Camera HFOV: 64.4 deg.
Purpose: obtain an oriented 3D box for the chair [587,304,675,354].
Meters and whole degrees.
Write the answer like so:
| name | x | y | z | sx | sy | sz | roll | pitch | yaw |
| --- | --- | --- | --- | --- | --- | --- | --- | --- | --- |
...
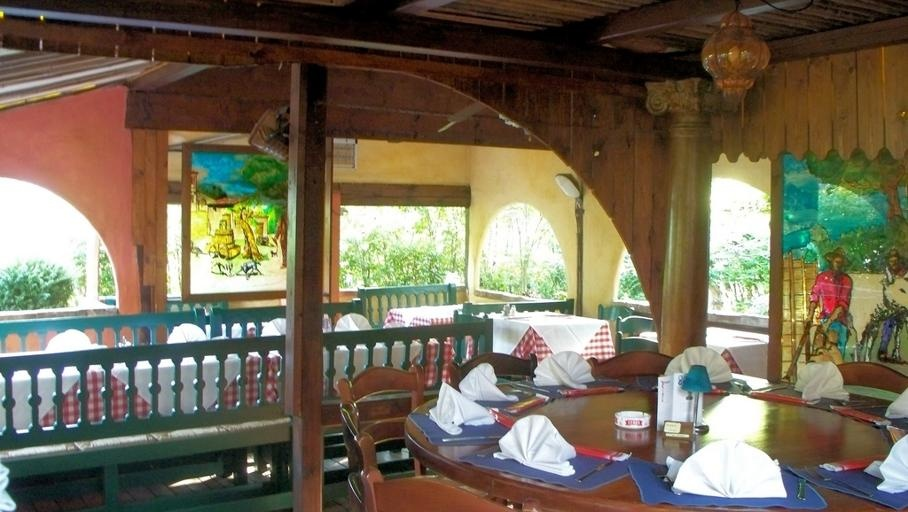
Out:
| name | x | y | z | sx | sy | sz | roll | pitch | yaw |
| --- | --- | --- | --- | --- | --- | --- | --- | --- | --- |
| chair | 1.959 | 0.778 | 7.780 | 0.747 | 0.903 | 0.636 | 1 | -2 | -8 |

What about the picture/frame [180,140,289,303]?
| name | x | y | z | sx | sy | sz | roll | pitch | yaw |
| --- | --- | --- | --- | --- | --- | --- | --- | --- | --- |
| picture/frame | -2.705 | -0.425 | 8.760 | 2.060 | 2.275 | 0.167 | -3 | 9 | -43 |

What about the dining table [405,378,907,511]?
| name | x | y | z | sx | sy | sz | roll | pitch | yaw |
| --- | --- | --- | --- | --- | --- | --- | --- | --- | --- |
| dining table | 1.370 | 1.079 | 4.213 | 1.303 | 0.307 | 1.275 | -1 | 7 | 4 |

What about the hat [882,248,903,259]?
| name | x | y | z | sx | sy | sz | roll | pitch | yaw |
| --- | --- | --- | --- | --- | --- | --- | --- | --- | --- |
| hat | 3.417 | -0.022 | 5.583 | 0.080 | 0.053 | 0.067 | -4 | 4 | -26 |

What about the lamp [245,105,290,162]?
| name | x | y | z | sx | sy | sz | roll | pitch | yaw |
| --- | --- | --- | --- | --- | --- | --- | --- | --- | --- |
| lamp | -1.769 | -1.172 | 6.947 | 0.309 | 0.481 | 0.415 | -8 | 11 | -27 |

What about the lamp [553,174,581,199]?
| name | x | y | z | sx | sy | sz | roll | pitch | yaw |
| --- | --- | --- | --- | --- | --- | --- | --- | --- | --- |
| lamp | 1.652 | -0.985 | 10.314 | 0.332 | 0.376 | 0.498 | -1 | 10 | 9 |
